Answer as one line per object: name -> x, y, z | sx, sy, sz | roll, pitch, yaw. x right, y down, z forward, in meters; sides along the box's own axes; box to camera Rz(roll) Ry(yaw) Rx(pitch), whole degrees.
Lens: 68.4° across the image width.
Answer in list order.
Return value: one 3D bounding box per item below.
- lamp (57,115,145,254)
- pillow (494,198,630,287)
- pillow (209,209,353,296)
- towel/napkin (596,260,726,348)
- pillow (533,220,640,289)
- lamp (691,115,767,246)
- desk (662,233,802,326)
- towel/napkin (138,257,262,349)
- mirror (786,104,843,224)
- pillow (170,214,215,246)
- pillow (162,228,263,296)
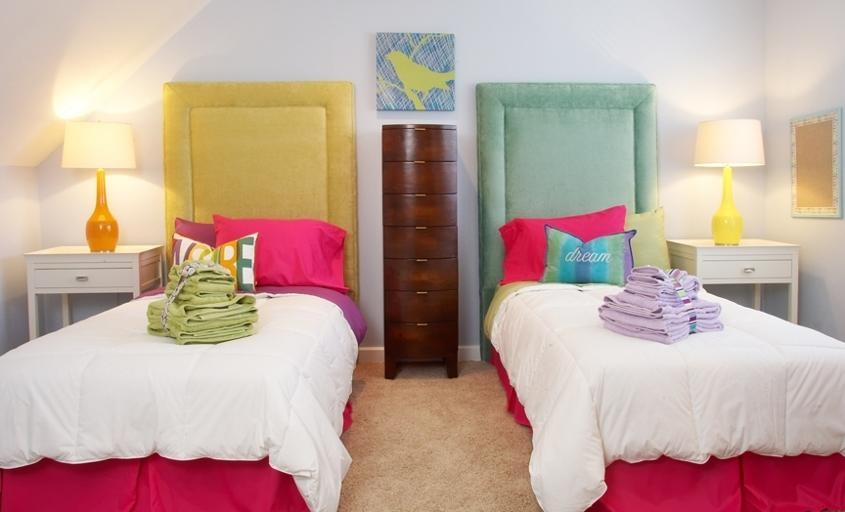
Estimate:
lamp -> -2.618, -0.572, 5.052 | 0.529, 1.076, 0.395 | -4, 6, -25
pillow -> 1.122, -0.066, 5.041 | 1.018, 0.604, 0.337 | -2, -10, 23
pillow -> -1.119, -0.019, 4.808 | 0.727, 0.399, 0.204 | 5, -28, -22
towel/napkin -> 1.467, 0.278, 3.784 | 0.683, 0.436, 0.359 | -2, 5, -14
pillow -> 1.247, 0.005, 4.700 | 0.552, 0.350, 0.148 | 2, -4, 6
lamp -> 2.560, -0.615, 5.204 | 0.528, 1.028, 0.428 | -4, 6, -28
desk -> 2.618, 0.349, 5.296 | 0.849, 0.817, 0.652 | 0, 1, 3
towel/napkin -> -1.355, 0.271, 3.784 | 0.566, 0.342, 0.552 | 2, 3, -33
mirror -> 3.151, -0.718, 4.962 | 0.060, 0.844, 0.452 | -3, 5, -16
pillow -> -1.832, -0.218, 5.028 | 0.281, 0.080, 0.251 | 15, 27, -21
pillow -> -1.447, 0.037, 4.378 | 0.524, 0.318, 0.129 | 4, -9, 5
